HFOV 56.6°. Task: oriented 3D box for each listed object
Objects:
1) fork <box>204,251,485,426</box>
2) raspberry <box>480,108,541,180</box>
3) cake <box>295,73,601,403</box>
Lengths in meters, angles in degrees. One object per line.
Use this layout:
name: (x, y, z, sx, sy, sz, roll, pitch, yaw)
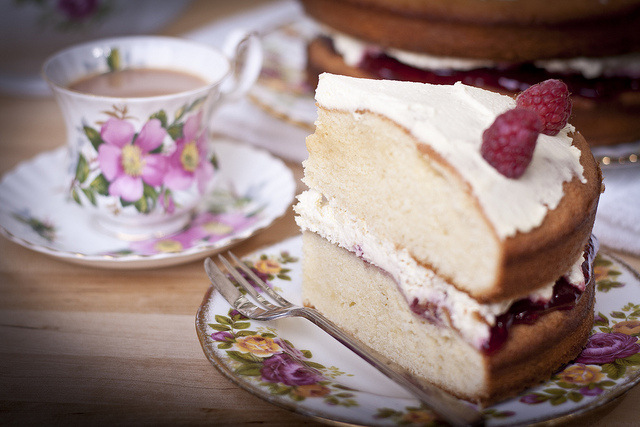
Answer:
fork: (0.061, 0.263, 1.202, 0.087, 0.071, 0.641, -22, 38, -39)
raspberry: (0.353, -0.133, 1.101, 0.097, 0.083, 0.102, 35, 63, 17)
cake: (0.300, -0.022, 1.452, 0.723, 0.563, 0.568, 25, 32, 32)
